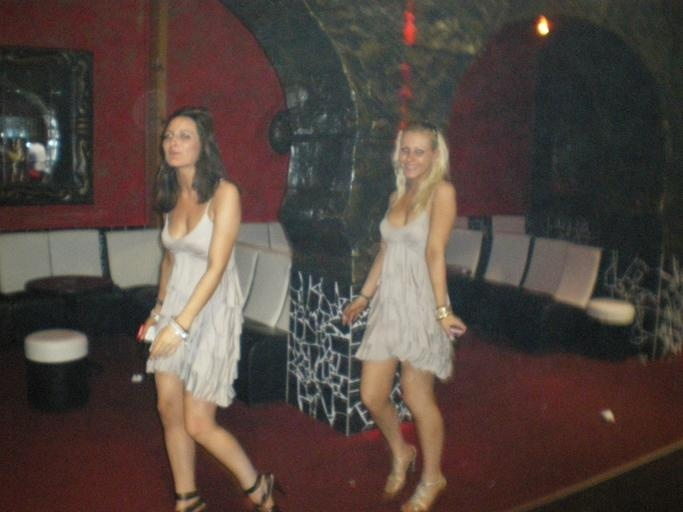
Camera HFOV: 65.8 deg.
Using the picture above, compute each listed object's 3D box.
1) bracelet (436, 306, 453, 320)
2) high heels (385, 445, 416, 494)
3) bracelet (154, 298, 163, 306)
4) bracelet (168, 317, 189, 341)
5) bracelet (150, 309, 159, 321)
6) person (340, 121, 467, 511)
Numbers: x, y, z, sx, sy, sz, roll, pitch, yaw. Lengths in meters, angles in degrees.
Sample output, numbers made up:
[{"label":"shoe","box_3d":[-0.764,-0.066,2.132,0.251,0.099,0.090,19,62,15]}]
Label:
[{"label":"bracelet","box_3d":[0.556,0.307,2.867,0.067,0.058,0.070,-16,-1,29]},{"label":"high heels","box_3d":[0.363,1.305,3.221,0.319,0.125,0.105,-53,17,-30]},{"label":"bracelet","box_3d":[-0.997,0.244,2.883,0.042,0.045,0.043,1,0,-20]},{"label":"bracelet","box_3d":[-0.764,0.351,2.511,0.054,0.100,0.075,-40,4,-21]},{"label":"bracelet","box_3d":[-1.003,0.317,2.859,0.045,0.049,0.053,5,-6,1]},{"label":"person","box_3d":[0.380,0.353,3.148,0.600,2.204,0.685,1,11,2]}]
